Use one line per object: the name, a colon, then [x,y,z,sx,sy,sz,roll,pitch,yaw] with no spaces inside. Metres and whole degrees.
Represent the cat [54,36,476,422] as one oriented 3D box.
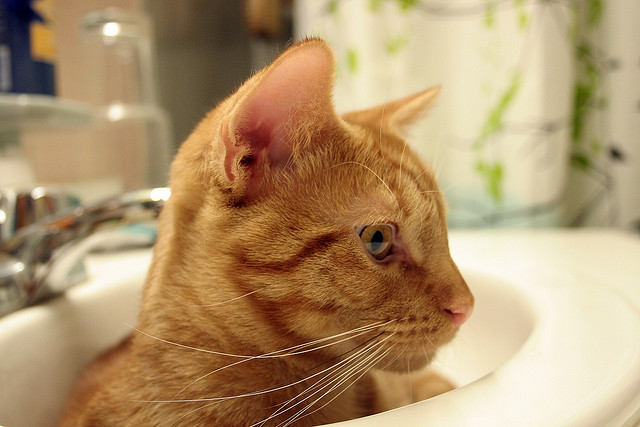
cat: [-0.072,0.131,1.204,0.684,0.531,0.469,-26,-8,15]
